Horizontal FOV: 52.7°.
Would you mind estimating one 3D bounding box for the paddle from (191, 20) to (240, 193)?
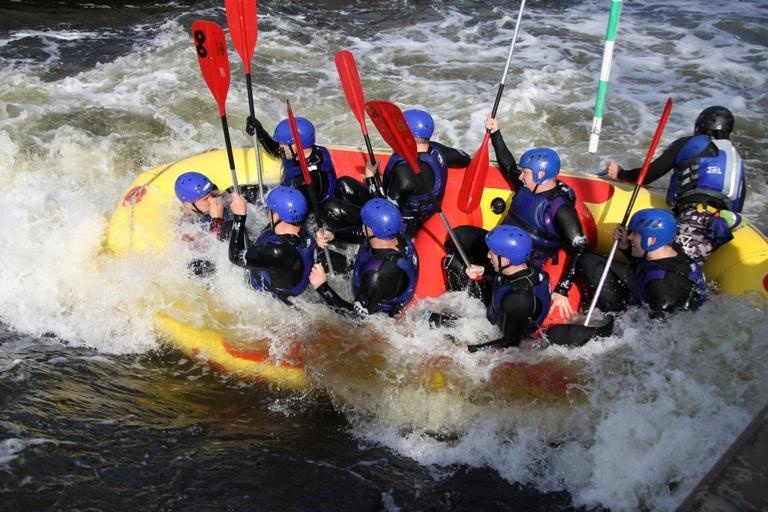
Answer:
[{"bbox_3d":[-1.873,-1.665,8.636,0.413,1.852,1.011,-2,25,-12],"label":"paddle"}]

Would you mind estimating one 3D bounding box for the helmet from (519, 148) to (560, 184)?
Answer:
[{"bbox_3d":[1.682,-0.963,8.152,0.486,0.316,0.318,6,24,19],"label":"helmet"}]

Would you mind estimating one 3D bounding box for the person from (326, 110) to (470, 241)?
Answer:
[{"bbox_3d":[0.144,-0.867,8.802,1.447,1.745,1.003,26,65,-7],"label":"person"}]

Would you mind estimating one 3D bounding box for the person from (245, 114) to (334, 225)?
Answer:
[{"bbox_3d":[-1.095,-0.938,8.785,1.388,0.797,1.811,5,-18,-9],"label":"person"}]

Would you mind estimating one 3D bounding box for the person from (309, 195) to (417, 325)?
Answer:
[{"bbox_3d":[-0.133,0.036,7.883,0.959,1.219,0.624,-13,29,-31],"label":"person"}]

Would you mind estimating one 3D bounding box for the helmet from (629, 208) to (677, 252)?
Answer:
[{"bbox_3d":[2.684,-0.278,7.907,0.534,0.409,0.381,9,12,21],"label":"helmet"}]

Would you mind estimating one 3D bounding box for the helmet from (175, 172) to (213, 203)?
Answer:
[{"bbox_3d":[-2.054,-0.757,8.424,0.423,0.276,0.273,17,53,18],"label":"helmet"}]
